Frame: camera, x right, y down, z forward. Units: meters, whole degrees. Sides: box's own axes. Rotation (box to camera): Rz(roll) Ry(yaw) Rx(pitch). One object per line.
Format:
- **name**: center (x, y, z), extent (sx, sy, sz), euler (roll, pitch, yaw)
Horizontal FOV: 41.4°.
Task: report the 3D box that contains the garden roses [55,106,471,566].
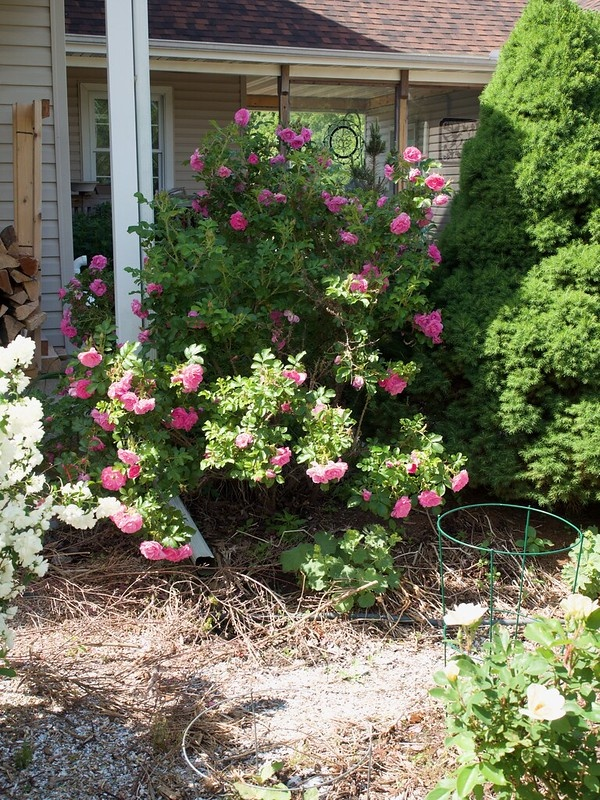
- **garden roses**: center (-0.186, -0.368, 3.553), extent (1.664, 1.987, 1.863), euler (2, 12, -16)
